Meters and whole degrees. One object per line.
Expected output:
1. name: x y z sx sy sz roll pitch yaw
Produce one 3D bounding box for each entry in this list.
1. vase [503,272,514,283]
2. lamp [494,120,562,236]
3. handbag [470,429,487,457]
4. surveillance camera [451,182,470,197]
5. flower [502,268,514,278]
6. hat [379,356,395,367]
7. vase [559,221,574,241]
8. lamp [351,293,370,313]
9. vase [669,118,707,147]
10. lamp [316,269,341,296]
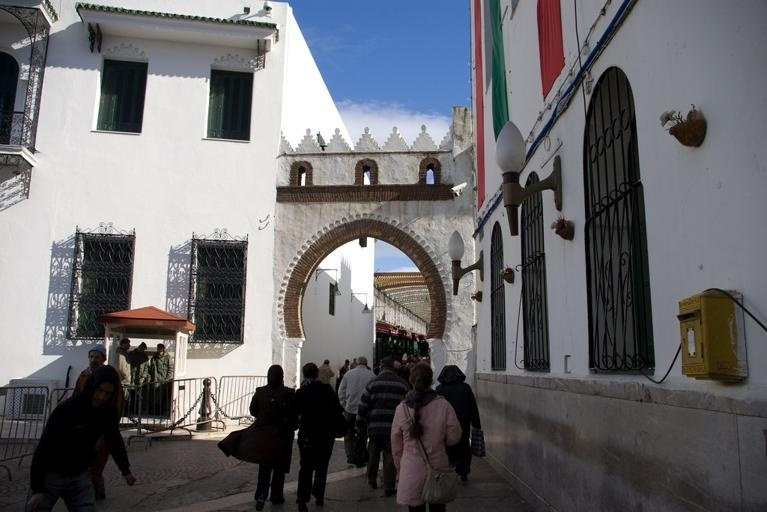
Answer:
1. vase: 2.035 0.367 9.919 0.124 0.183 0.175 -1 -22 5
2. lamp: 1.773 -0.921 7.382 0.535 1.448 1.119 -10 -14 40
3. handbag: 1.220 2.429 7.917 0.159 0.372 0.277 -2 -11 5
4. surveillance camera: 2.249 -1.956 17.868 0.454 0.410 0.110 -2 -10 -1
5. flower: 2.028 0.272 9.879 0.199 0.166 0.133 -7 -12 24
6. hat: 0.062 1.553 8.821 0.138 0.125 0.150 3 -12 2
7. vase: 2.170 -0.283 7.235 0.178 0.210 0.192 -4 -4 -11
8. lamp: -0.998 2.076 26.941 0.887 0.961 0.628 3 -9 -14
9. vase: 2.545 -1.014 5.064 0.173 0.220 0.260 2 -12 -20
10. lamp: -2.181 0.993 24.592 1.032 1.402 0.851 0 -12 1
